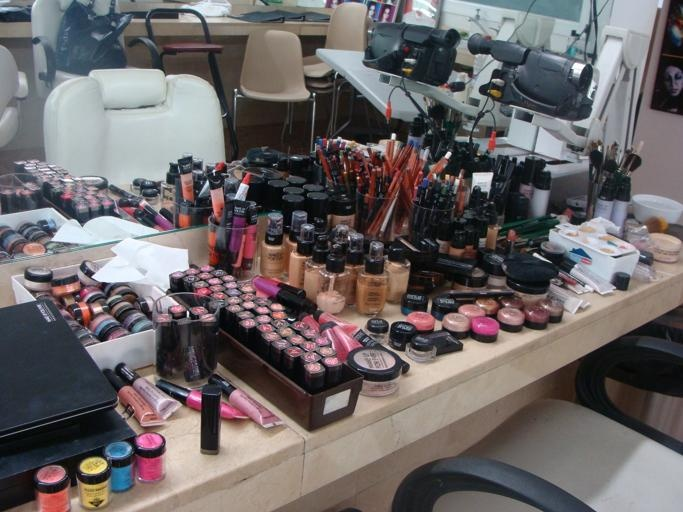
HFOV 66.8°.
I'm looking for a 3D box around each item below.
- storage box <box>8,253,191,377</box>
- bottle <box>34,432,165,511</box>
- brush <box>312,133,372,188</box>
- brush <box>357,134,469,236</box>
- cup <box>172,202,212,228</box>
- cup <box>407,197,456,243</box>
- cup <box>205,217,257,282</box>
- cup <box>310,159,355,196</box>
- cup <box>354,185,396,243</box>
[{"bbox_3d":[-0.460,0.122,1.064,0.271,0.073,0.244,-17,38,-32],"label":"storage box"},{"bbox_3d":[-0.351,0.313,0.743,0.122,0.040,0.031,-19,32,-40],"label":"bottle"},{"bbox_3d":[0.010,-0.256,1.378,0.121,0.054,0.153,-6,30,-26],"label":"brush"},{"bbox_3d":[0.139,-0.209,1.473,0.331,0.292,0.195,-14,37,-29],"label":"brush"},{"bbox_3d":[-0.366,-0.098,1.263,0.072,0.049,0.073,5,25,-2],"label":"cup"},{"bbox_3d":[0.224,-0.094,1.409,0.104,0.107,0.102,13,27,-7],"label":"cup"},{"bbox_3d":[-0.250,-0.020,1.277,0.145,0.147,0.135,7,25,-3],"label":"cup"},{"bbox_3d":[-0.016,-0.201,1.436,0.093,0.075,0.111,-28,53,-34],"label":"cup"},{"bbox_3d":[0.084,-0.110,1.419,0.129,0.132,0.121,-1,31,1],"label":"cup"}]
